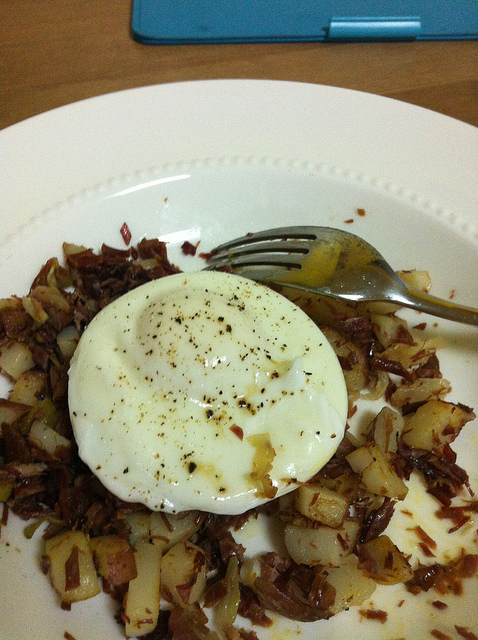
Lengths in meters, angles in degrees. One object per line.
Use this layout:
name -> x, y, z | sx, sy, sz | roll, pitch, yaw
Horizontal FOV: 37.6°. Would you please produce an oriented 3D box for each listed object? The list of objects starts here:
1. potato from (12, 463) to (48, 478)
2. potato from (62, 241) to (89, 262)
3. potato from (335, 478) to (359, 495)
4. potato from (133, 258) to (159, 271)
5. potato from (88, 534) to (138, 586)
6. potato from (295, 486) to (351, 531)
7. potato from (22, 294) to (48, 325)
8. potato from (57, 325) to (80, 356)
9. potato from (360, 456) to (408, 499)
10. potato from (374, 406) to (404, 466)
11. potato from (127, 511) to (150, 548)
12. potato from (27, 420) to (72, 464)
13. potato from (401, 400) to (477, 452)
potato -> -0.981, 0.692, 3.281 | 0.144, 0.072, 0.045 | -15, 50, -16
potato -> -0.868, -0.366, 3.661 | 0.127, 0.065, 0.081 | -12, 47, -13
potato -> 0.516, 0.797, 3.388 | 0.095, 0.020, 0.056 | -20, 53, -21
potato -> -0.492, -0.299, 3.733 | 0.097, 0.022, 0.081 | 2, 37, 9
potato -> -0.591, 1.079, 3.191 | 0.155, 0.085, 0.258 | -37, 48, -28
potato -> 0.386, 0.862, 3.229 | 0.278, 0.176, 0.073 | 10, 11, -2
potato -> -1.028, -0.050, 3.552 | 0.086, 0.043, 0.155 | -40, 92, -7
potato -> -0.865, 0.103, 3.547 | 0.131, 0.044, 0.141 | 1, 73, 13
potato -> 0.686, 0.751, 3.301 | 0.222, 0.079, 0.187 | 22, 48, -14
potato -> 0.740, 0.565, 3.529 | 0.170, 0.070, 0.246 | 11, 82, -16
potato -> -0.465, 0.957, 3.187 | 0.109, 0.037, 0.144 | -2, 73, -3
potato -> -0.925, 0.570, 3.333 | 0.197, 0.093, 0.120 | 20, 49, 18
potato -> 0.982, 0.523, 3.483 | 0.263, 0.191, 0.259 | 22, 49, 19
